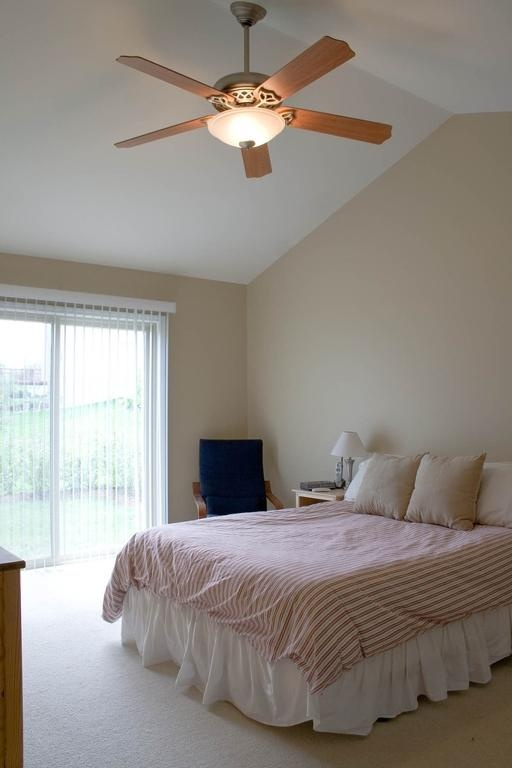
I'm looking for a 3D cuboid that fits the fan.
[{"bbox_3d":[0.026,-1.013,2.164,0.856,0.475,0.888,-3,-9,14],"label":"fan"}]

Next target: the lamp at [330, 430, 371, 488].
[{"bbox_3d":[0.666,0.542,4.196,0.242,0.399,0.235,0,1,35],"label":"lamp"}]

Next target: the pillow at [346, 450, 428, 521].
[{"bbox_3d":[0.743,0.573,3.323,0.106,0.331,0.350,28,-12,-23],"label":"pillow"}]

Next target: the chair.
[{"bbox_3d":[-0.183,0.770,4.938,0.533,0.850,0.646,-2,-5,-7],"label":"chair"}]

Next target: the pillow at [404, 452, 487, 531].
[{"bbox_3d":[0.970,0.559,3.084,0.208,0.348,0.397,2,-3,-31],"label":"pillow"}]
